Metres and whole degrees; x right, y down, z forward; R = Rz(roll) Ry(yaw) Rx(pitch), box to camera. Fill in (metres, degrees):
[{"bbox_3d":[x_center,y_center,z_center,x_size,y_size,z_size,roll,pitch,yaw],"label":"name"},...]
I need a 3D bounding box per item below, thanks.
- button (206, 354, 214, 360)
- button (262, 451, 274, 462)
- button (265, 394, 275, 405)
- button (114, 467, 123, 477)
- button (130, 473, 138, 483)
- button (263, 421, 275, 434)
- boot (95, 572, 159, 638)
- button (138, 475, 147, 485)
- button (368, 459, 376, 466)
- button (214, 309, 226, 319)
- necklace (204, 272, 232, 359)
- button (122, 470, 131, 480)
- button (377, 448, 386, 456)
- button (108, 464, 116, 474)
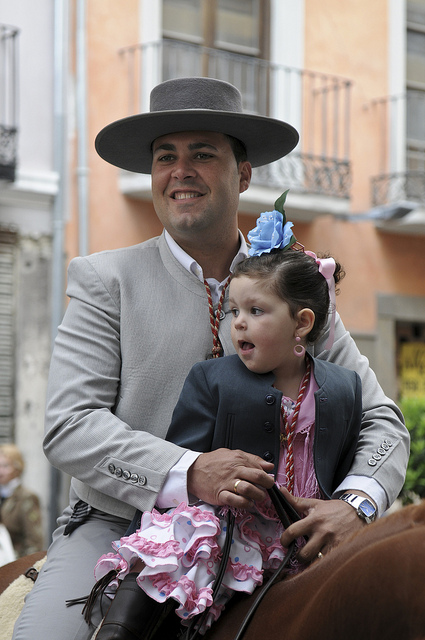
[{"bbox_3d":[-0.010,0.106,2.234,0.019,0.021,0.012,2,-25,-1],"label":"button"},{"bbox_3d":[0.129,0.321,1.872,0.033,0.024,0.007,-8,0,3],"label":"button"},{"bbox_3d":[0.132,0.189,1.879,0.029,0.021,0.006,2,-13,0],"label":"button"},{"bbox_3d":[-0.223,0.369,1.945,0.024,0.018,0.005,3,0,32],"label":"button"},{"bbox_3d":[-0.184,0.381,1.928,0.023,0.017,0.005,4,-2,29],"label":"button"},{"bbox_3d":[0.129,0.253,1.875,0.028,0.021,0.006,4,-4,17],"label":"button"},{"bbox_3d":[-0.167,0.581,1.634,0.101,0.097,0.115,2,-2,15],"label":"boot"},{"bbox_3d":[-0.164,0.384,1.917,0.024,0.019,0.006,0,-7,36],"label":"button"},{"bbox_3d":[0.404,0.368,2.068,0.019,0.010,0.019,2,-2,10],"label":"button"},{"bbox_3d":[0.025,-0.013,2.339,0.029,0.023,0.006,12,-45,-27],"label":"button"},{"bbox_3d":[0.012,0.011,2.318,0.029,0.199,0.084,7,-9,-31],"label":"necklace"},{"bbox_3d":[-0.203,0.374,1.936,0.024,0.019,0.006,-8,-4,33],"label":"button"},{"bbox_3d":[0.436,0.349,2.112,0.016,0.003,0.014,-7,37,-24],"label":"button"},{"bbox_3d":[-0.239,0.365,1.953,0.019,0.019,0.007,10,5,32],"label":"button"}]
